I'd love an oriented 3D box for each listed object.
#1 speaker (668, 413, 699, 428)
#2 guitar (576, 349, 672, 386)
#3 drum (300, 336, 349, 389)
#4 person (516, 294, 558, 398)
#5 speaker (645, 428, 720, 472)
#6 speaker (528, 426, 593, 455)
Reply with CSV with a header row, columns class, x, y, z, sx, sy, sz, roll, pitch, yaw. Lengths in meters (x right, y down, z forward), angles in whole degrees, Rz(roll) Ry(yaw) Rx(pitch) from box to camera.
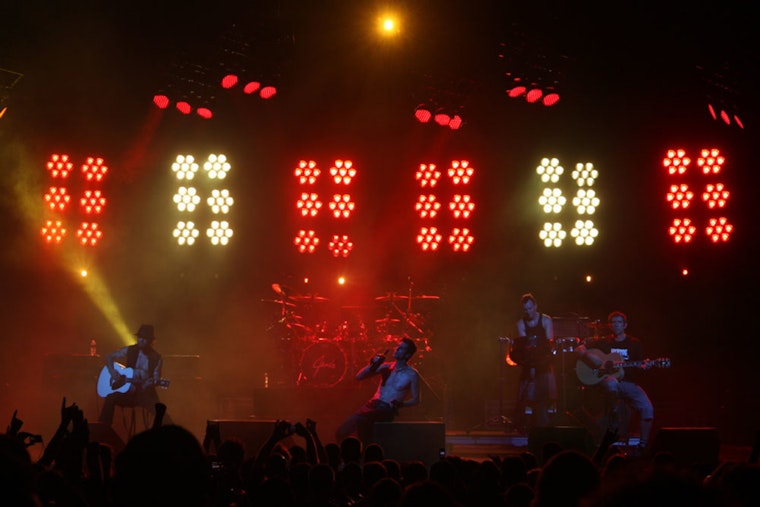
class,x,y,z,sx,sy,sz,roll,pitch,yaw
speaker,6.784,3.717,19.951,0.656,0.282,0.118,-2,-30,6
guitar,5.213,2.379,18.974,1.975,0.696,0.278,-4,0,24
drum,-1.255,2.427,20.082,0.924,0.971,0.994,-2,1,-14
person,3.488,1.986,19.558,0.930,2.079,0.768,-1,5,1
speaker,5.230,3.367,15.221,1.022,0.634,1.142,-1,-2,9
speaker,3.137,3.268,15.551,1.027,0.567,0.501,0,-5,8
